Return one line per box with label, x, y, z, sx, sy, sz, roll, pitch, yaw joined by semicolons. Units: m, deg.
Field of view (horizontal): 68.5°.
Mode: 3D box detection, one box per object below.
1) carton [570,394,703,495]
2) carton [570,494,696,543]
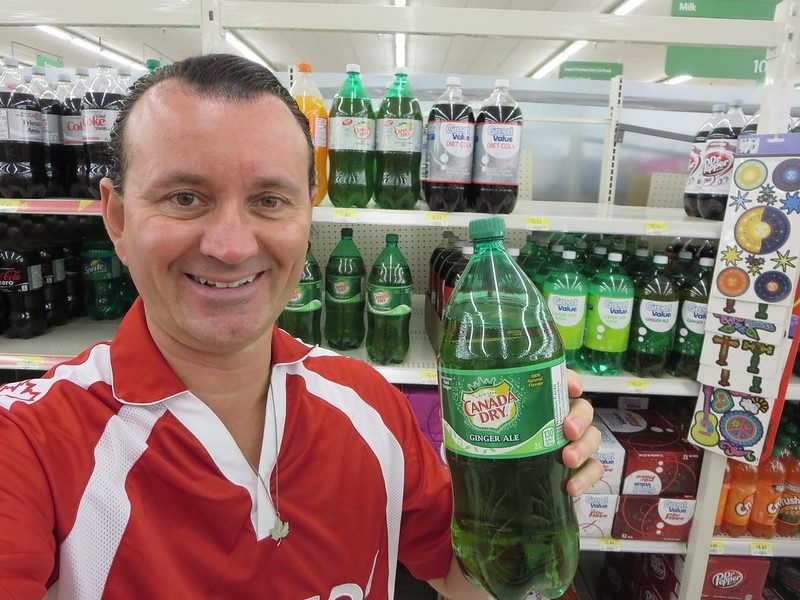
carton;1.061;0.653;2.599;0.527;0.126;0.464;1;24;3
carton;0.951;0.894;2.421;0.585;0.193;0.164;1;14;0
